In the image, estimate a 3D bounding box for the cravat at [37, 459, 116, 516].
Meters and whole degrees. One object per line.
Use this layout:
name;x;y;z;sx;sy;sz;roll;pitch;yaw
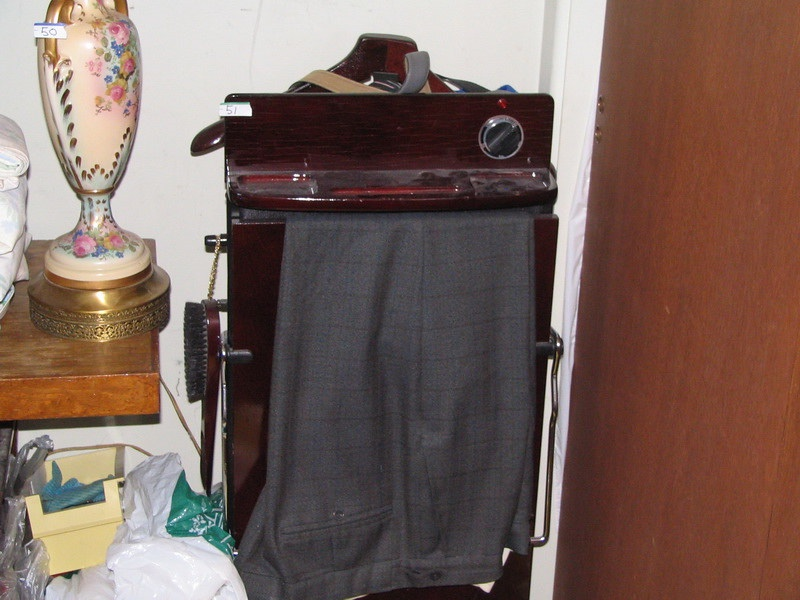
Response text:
cravat;-0.733;0.419;1.787;0.114;0.044;0.110;7;27;-6
